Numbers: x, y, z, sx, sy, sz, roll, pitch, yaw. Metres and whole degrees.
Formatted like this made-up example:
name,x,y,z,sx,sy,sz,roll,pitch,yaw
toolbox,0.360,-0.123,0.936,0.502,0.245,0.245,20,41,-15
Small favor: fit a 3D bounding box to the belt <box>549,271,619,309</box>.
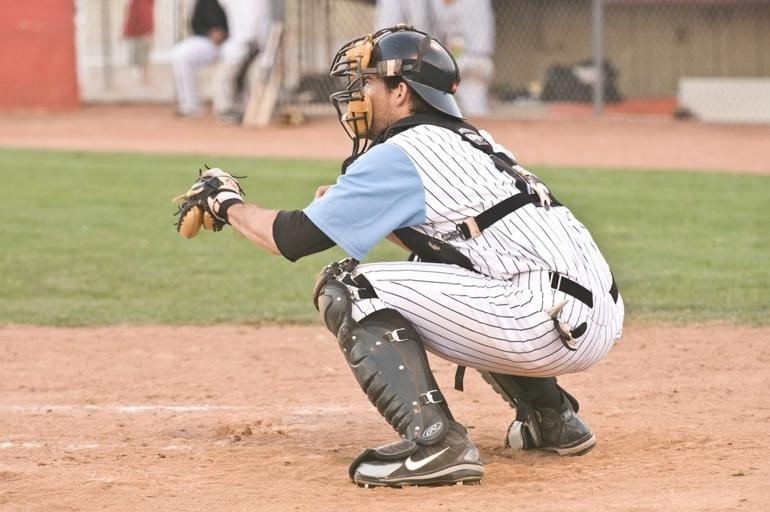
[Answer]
name,x,y,z,sx,sy,sz,roll,pitch,yaw
belt,1.158,0.190,7.888,0.344,0.073,0.233,16,3,-3
